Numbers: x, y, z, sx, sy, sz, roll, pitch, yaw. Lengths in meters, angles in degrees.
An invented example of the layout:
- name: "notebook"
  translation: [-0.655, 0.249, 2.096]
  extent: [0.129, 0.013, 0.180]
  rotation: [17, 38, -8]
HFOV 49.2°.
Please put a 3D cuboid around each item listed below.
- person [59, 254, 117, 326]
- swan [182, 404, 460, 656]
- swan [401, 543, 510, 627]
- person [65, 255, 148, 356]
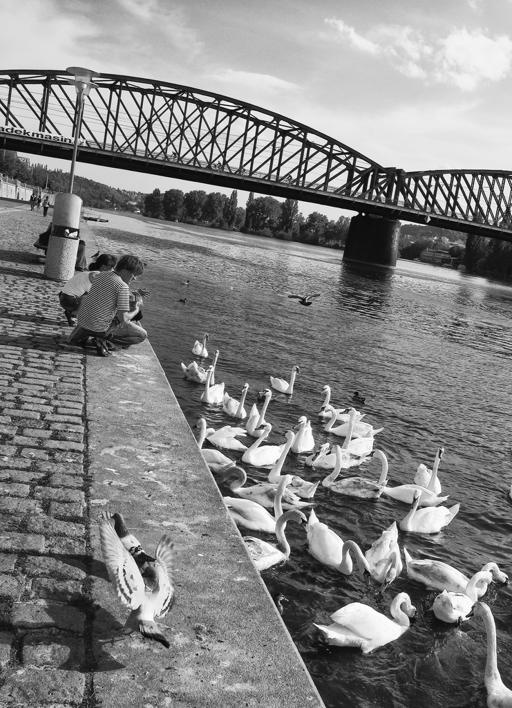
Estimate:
- name: "person"
  translation: [-3.083, -1.177, 10.121]
  extent: [0.941, 1.572, 0.982]
  rotation: [9, 13, -6]
- name: "swan"
  translation: [0.780, 1.720, 6.661]
  extent: [2.564, 1.877, 2.143]
  rotation: [-4, 14, -18]
- name: "swan"
  translation: [1.896, 2.155, 5.277]
  extent: [0.646, 0.440, 0.636]
  rotation: [-5, 8, -11]
- name: "person"
  translation: [-2.325, -0.800, 9.188]
  extent: [0.899, 1.655, 1.149]
  rotation: [31, 18, 30]
